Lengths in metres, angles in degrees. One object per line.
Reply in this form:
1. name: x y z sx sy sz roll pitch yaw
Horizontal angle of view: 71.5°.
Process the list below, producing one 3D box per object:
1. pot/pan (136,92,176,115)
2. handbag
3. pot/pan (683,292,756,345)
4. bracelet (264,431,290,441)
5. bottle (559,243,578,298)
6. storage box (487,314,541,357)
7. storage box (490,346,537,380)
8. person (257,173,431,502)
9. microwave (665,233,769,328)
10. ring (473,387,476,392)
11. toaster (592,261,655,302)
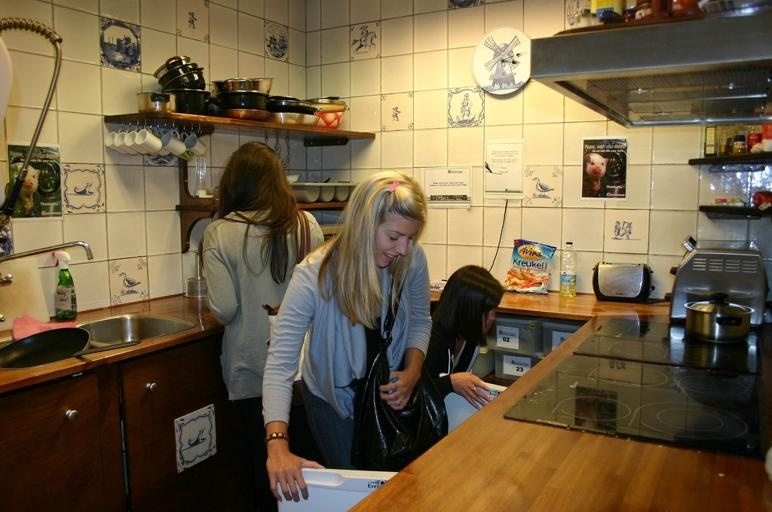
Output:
1. pot/pan: -1.232 -0.818 2.894 0.187 0.080 0.205 0 8 2
2. handbag: 0.047 0.478 2.019 0.420 0.627 0.272 -13 22 -40
3. pot/pan: 1.582 0.289 2.558 0.255 0.218 0.267 4 8 32
4. bracelet: -0.354 0.592 1.763 0.043 0.016 0.043 1 -2 -19
5. bottle: 1.146 0.082 3.367 0.108 0.312 0.185 4 15 18
6. storage box: 0.730 0.443 3.082 0.228 0.147 0.235 1 2 24
7. storage box: 0.755 0.602 3.127 0.207 0.133 0.211 2 3 39
8. person: -0.151 0.276 2.001 0.443 1.151 0.882 12 19 42
9. microwave: 1.754 0.120 2.839 0.461 0.411 0.447 2 0 23
10. ring: 0.366 0.554 2.216 0.011 0.011 0.012 1 5 0
11. toaster: 1.389 0.161 3.163 0.372 0.297 0.207 0 -7 23
